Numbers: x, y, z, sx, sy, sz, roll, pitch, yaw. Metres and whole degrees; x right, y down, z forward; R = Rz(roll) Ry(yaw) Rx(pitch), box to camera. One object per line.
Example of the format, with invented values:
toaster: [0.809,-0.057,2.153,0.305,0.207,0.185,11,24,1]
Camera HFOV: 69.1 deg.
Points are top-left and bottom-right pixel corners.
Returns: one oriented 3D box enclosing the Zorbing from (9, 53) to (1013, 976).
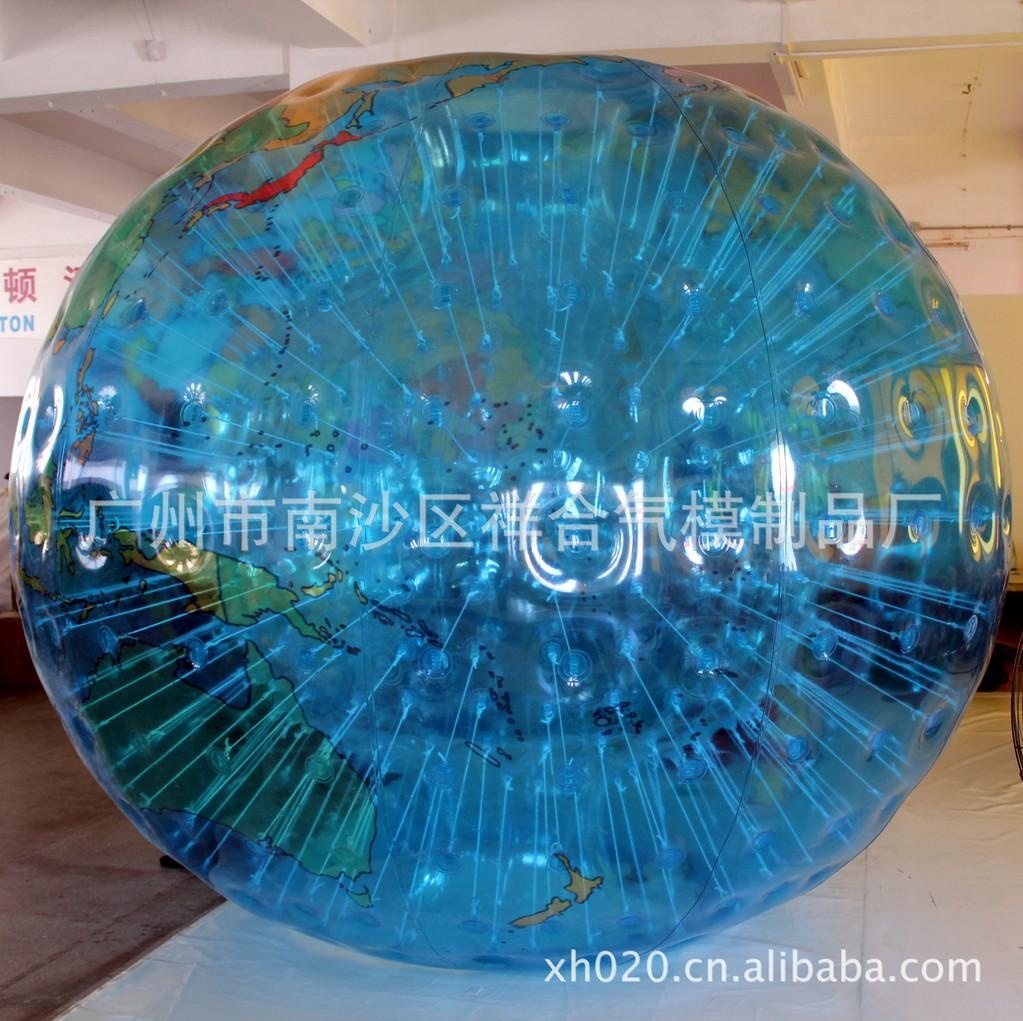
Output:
Zorbing: [0.089,-0.021,1.647,1.548,1.086,1.459,0,3,6]
